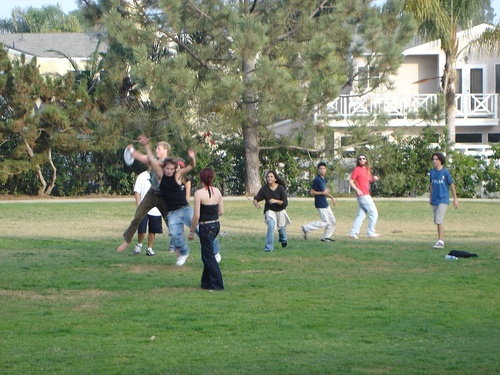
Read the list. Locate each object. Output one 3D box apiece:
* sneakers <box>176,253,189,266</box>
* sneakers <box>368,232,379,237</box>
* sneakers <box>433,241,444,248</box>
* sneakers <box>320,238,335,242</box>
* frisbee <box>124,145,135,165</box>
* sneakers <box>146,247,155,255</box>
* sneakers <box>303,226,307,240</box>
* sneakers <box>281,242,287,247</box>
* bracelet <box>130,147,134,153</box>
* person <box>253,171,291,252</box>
[{"bbox_3d":[-1.840,1.940,27.848,0.179,0.219,0.497,1,33,21],"label":"sneakers"},{"bbox_3d":[3.896,1.518,31.783,0.383,0.196,0.141,-2,6,1],"label":"sneakers"},{"bbox_3d":[5.611,1.719,29.991,0.368,0.191,0.139,1,-3,12],"label":"sneakers"},{"bbox_3d":[2.389,1.640,31.157,0.402,0.191,0.149,0,2,-6],"label":"sneakers"},{"bbox_3d":[-3.278,-0.914,27.402,0.358,0.563,0.204,6,-1,1],"label":"frisbee"},{"bbox_3d":[-2.899,1.879,29.217,0.312,0.267,0.119,1,1,10],"label":"sneakers"},{"bbox_3d":[1.691,1.414,31.186,0.145,0.420,0.129,0,0,-1],"label":"sneakers"},{"bbox_3d":[1.020,1.690,30.136,0.120,0.132,0.203,-9,45,9],"label":"sneakers"},{"bbox_3d":[-3.156,-1.006,27.100,0.098,0.109,0.097,5,-9,-40],"label":"bracelet"},{"bbox_3d":[0.685,0.725,29.752,0.973,2.324,0.731,1,11,1],"label":"person"}]
